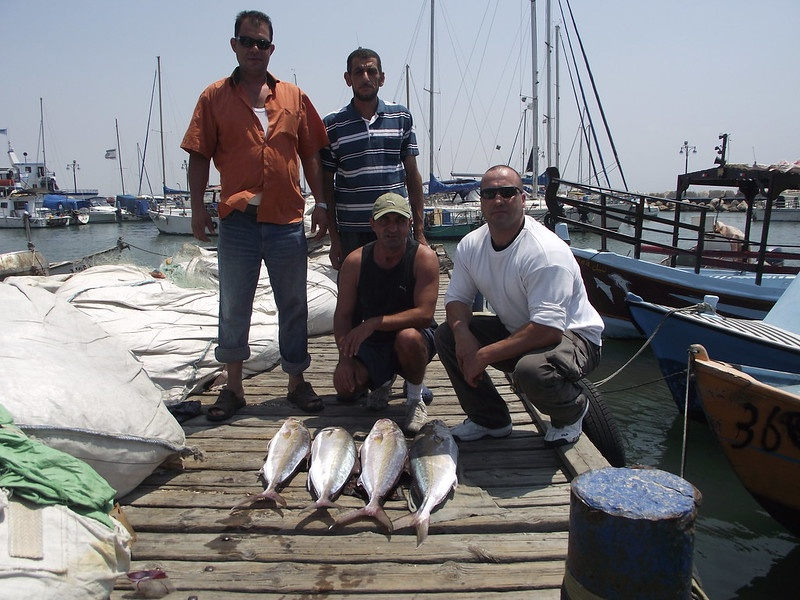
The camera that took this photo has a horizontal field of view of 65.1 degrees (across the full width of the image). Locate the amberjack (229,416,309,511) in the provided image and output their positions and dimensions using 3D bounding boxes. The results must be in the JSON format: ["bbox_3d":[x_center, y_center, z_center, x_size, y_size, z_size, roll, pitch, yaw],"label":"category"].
[{"bbox_3d":[-0.716,0.936,3.697,0.162,0.267,0.641,8,25,2],"label":"amberjack"}]

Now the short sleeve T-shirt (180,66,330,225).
[{"bbox_3d":[-0.981,-1.067,4.379,0.992,1.062,0.475,-8,14,-27],"label":"short sleeve T-shirt"}]

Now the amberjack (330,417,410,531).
[{"bbox_3d":[-0.116,0.992,3.669,0.299,0.198,0.964,5,20,2],"label":"amberjack"}]

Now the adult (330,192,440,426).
[{"bbox_3d":[-0.100,0.057,4.396,0.755,1.576,0.672,-2,10,2],"label":"adult"}]

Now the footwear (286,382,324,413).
[{"bbox_3d":[-0.669,0.708,4.531,0.129,0.153,0.335,-7,6,-31],"label":"footwear"}]

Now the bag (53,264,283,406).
[{"bbox_3d":[-2.021,0.170,5.219,1.332,0.462,1.255,33,18,29],"label":"bag"}]

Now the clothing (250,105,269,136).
[{"bbox_3d":[-0.916,-1.206,4.220,0.098,0.173,0.038,-4,10,-12],"label":"clothing"}]

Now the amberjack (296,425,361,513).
[{"bbox_3d":[-0.388,0.958,3.619,0.238,0.148,0.598,0,24,6],"label":"amberjack"}]

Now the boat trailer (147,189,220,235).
[{"bbox_3d":[-10.764,-4.935,34.057,5.134,2.167,2.505,-6,19,-9],"label":"boat trailer"}]

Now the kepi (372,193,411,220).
[{"bbox_3d":[-0.050,-0.634,4.265,0.243,0.176,0.271,-3,11,-2],"label":"kepi"}]

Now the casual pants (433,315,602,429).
[{"bbox_3d":[0.740,0.392,3.999,0.783,0.556,0.804,-10,7,-15],"label":"casual pants"}]

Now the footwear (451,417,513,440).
[{"bbox_3d":[0.545,0.837,4.201,0.386,0.197,0.153,1,5,-6],"label":"footwear"}]

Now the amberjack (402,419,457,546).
[{"bbox_3d":[0.225,1.064,3.588,0.291,0.148,0.812,-24,20,23],"label":"amberjack"}]

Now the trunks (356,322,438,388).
[{"bbox_3d":[-0.025,0.401,4.426,0.442,0.191,0.461,-18,26,-13],"label":"trunks"}]

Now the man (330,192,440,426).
[{"bbox_3d":[-0.099,0.057,4.394,0.755,1.576,0.690,-2,10,2],"label":"man"}]

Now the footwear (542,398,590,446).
[{"bbox_3d":[1.101,0.796,4.113,0.168,0.206,0.473,-19,13,43],"label":"footwear"}]
